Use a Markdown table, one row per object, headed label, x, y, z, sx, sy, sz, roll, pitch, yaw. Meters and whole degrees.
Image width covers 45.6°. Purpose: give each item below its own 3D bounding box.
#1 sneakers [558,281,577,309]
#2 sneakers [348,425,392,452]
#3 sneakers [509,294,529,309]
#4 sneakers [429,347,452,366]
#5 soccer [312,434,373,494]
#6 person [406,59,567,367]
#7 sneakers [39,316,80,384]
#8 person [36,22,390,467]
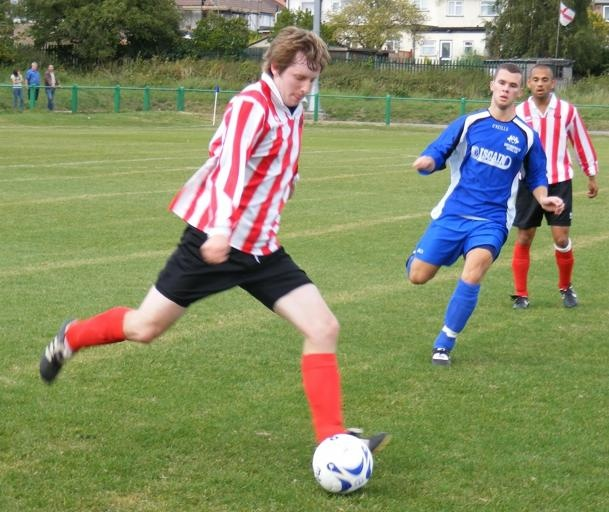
| label | x | y | z | sx | sy | sz | roll | pitch | yaw |
| --- | --- | --- | --- | --- | --- | --- | --- | --- | --- |
| sneakers | 2.430 | 0.370 | 6.736 | 0.096 | 0.106 | 0.260 | -23 | 41 | 21 |
| sneakers | 0.308 | 0.964 | 3.780 | 0.303 | 0.124 | 0.099 | -6 | 9 | -41 |
| sneakers | 1.955 | 0.416 | 6.588 | 0.080 | 0.098 | 0.224 | -4 | -15 | 11 |
| sneakers | 0.986 | 0.713 | 5.231 | 0.140 | 0.110 | 0.200 | 2 | 8 | 9 |
| soccer | 0.177 | 1.017 | 3.616 | 0.286 | 0.209 | 0.256 | -12 | 18 | -2 |
| person | 1.283 | -0.345 | 5.373 | 1.150 | 2.158 | 0.615 | -2 | 8 | -16 |
| sneakers | -1.428 | 0.569 | 4.276 | 0.151 | 0.413 | 0.186 | 28 | 22 | 9 |
| person | -0.364 | -0.090 | 3.765 | 1.533 | 2.174 | 0.811 | -1 | 8 | -10 |
